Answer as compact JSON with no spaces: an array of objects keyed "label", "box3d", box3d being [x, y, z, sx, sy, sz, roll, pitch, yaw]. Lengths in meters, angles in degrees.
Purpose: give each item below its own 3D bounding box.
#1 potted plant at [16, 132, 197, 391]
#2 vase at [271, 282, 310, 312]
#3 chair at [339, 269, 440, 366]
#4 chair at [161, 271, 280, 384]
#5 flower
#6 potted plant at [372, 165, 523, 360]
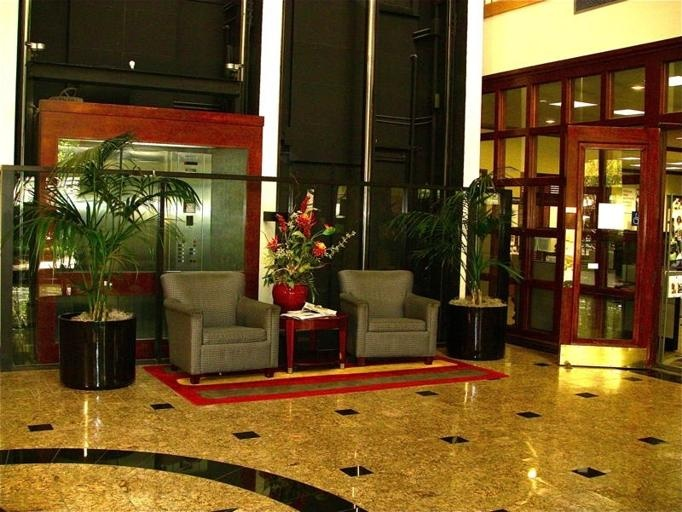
[{"label":"potted plant","box3d":[-2.336,0.069,5.690,1.781,2.434,1.735,-3,-4,-35]},{"label":"vase","box3d":[-0.574,0.467,6.385,0.355,0.231,0.344,0,0,39]},{"label":"chair","box3d":[0.512,0.672,6.841,1.103,0.918,1.000,2,2,-19]},{"label":"chair","box3d":[-1.184,0.714,6.187,1.264,1.128,1.205,1,-3,-27]},{"label":"flower","box3d":[-0.595,0.015,6.650,0.906,1.114,0.825,22,-2,-23]},{"label":"potted plant","box3d":[1.693,0.006,8.333,2.463,2.720,2.428,-1,3,-15]}]
